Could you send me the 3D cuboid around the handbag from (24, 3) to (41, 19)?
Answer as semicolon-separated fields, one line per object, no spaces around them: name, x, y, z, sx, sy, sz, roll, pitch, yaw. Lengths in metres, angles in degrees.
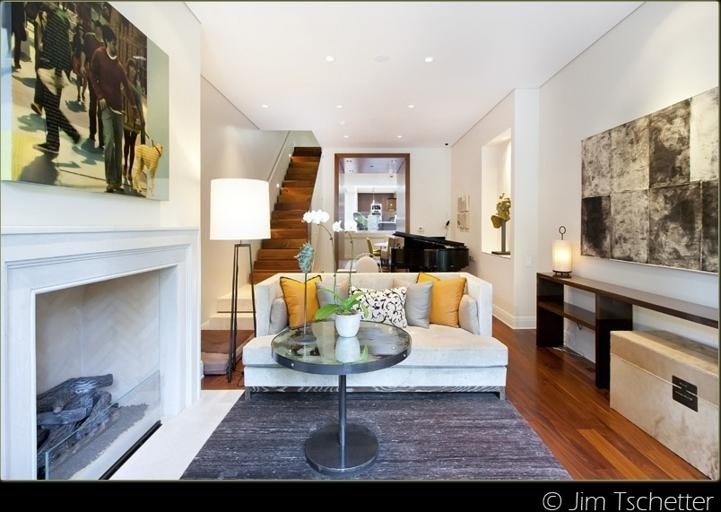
handbag;-1.975;-1.478;2.970;0.020;0.121;0.090;2;5;28

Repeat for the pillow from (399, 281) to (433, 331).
pillow;0.537;0.455;4.774;0.332;0.559;0.612;3;-4;-1

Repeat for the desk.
desk;-0.144;1.043;3.623;1.085;0.813;1.067;-3;4;-34

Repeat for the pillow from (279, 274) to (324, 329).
pillow;-0.525;0.422;4.355;0.184;0.402;0.503;6;3;44

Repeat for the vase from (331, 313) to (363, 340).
vase;-0.099;0.519;3.651;0.193;0.135;0.180;1;-3;-30

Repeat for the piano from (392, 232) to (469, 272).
piano;0.949;-0.010;6.697;0.804;0.471;0.664;0;1;13

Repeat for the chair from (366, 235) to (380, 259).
chair;0.286;-0.170;10.637;0.419;0.660;0.384;0;6;1

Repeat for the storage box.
storage box;2.275;1.079;3.673;0.217;0.847;0.803;-1;5;-22
